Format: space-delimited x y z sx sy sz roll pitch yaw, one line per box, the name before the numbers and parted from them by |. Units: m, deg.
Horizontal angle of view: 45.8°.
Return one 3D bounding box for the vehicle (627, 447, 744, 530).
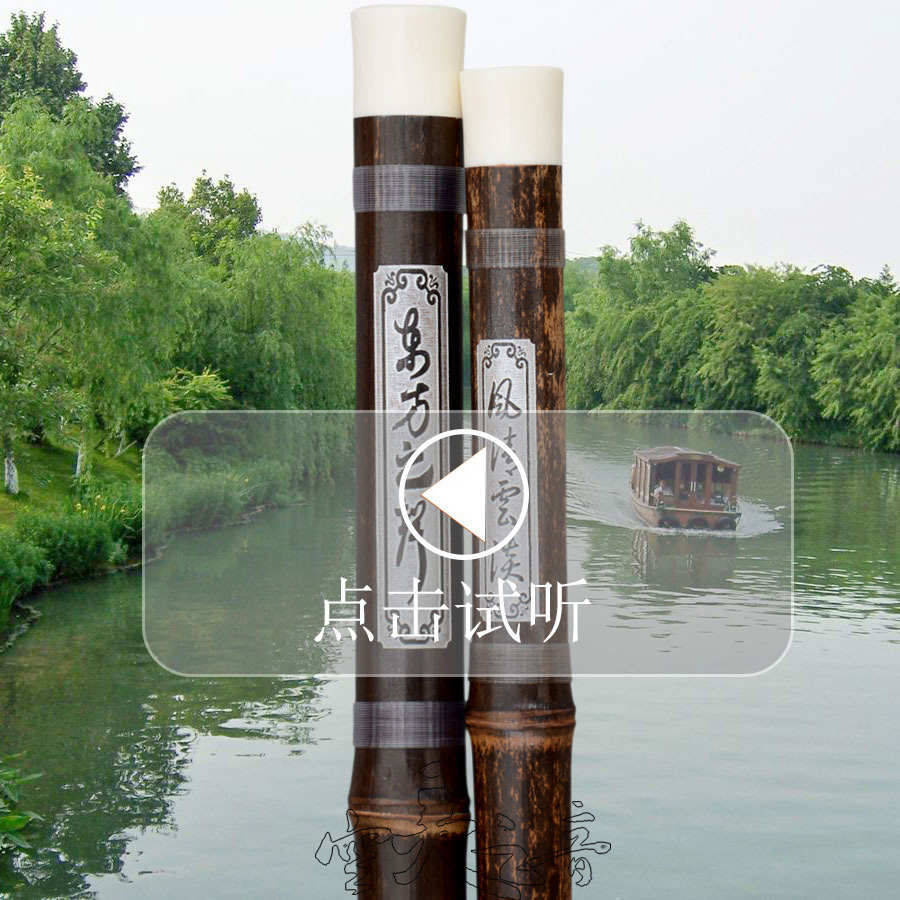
vehicle | 0.744 0.126 3.437 0.248 0.203 0.614 0 2 -1
